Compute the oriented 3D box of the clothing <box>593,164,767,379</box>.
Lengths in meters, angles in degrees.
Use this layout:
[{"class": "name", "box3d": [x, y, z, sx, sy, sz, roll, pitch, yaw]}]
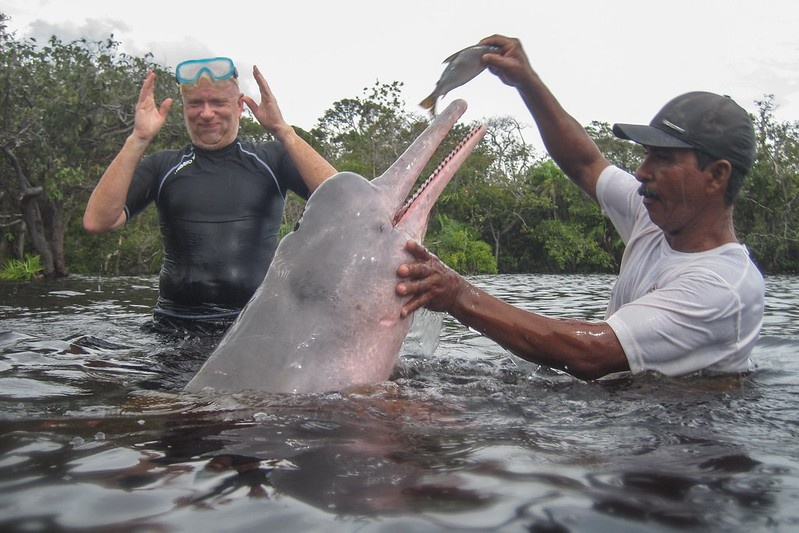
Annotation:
[{"class": "clothing", "box3d": [1.577, 0.139, 4.301, 0.986, 0.987, 1.063, 14, 18, 42]}]
